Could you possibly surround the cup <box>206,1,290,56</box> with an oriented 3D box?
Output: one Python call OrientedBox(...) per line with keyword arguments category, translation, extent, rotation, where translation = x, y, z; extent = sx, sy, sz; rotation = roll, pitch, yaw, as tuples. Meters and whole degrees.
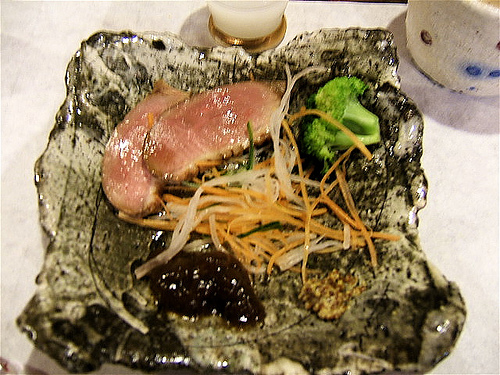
OrientedBox(category="cup", translation=(-0.009, -0.940, 2.947), extent=(0.381, 0.308, 0.411), rotation=(0, 57, 1))
